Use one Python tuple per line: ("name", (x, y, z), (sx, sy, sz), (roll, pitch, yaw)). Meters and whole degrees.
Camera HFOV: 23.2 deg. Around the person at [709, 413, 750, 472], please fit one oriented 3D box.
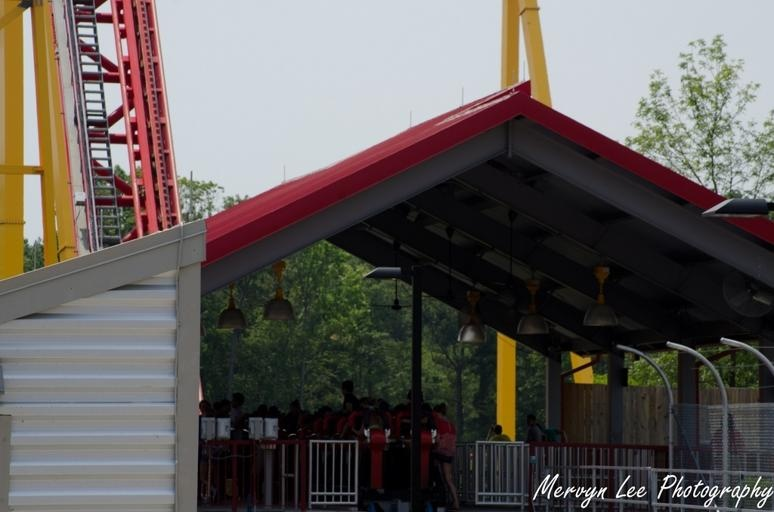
("person", (7.514, 4.226, 42.430), (0.886, 1.010, 1.105), (-3, -5, 24))
